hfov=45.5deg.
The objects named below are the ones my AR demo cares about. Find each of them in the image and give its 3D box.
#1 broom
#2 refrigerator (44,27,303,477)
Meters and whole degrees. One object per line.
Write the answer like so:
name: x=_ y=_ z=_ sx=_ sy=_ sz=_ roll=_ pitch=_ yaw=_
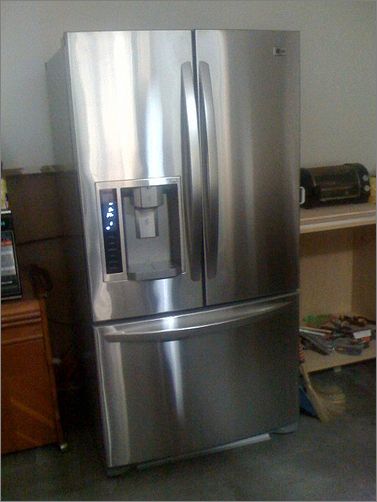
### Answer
broom: x=0.632 y=0.563 z=2.099 sx=0.204 sy=0.315 sz=0.361 roll=2 pitch=13 yaw=20
refrigerator: x=0.036 y=0.029 z=1.596 sx=0.825 sy=1.490 sz=0.229 roll=-8 pitch=13 yaw=-23
